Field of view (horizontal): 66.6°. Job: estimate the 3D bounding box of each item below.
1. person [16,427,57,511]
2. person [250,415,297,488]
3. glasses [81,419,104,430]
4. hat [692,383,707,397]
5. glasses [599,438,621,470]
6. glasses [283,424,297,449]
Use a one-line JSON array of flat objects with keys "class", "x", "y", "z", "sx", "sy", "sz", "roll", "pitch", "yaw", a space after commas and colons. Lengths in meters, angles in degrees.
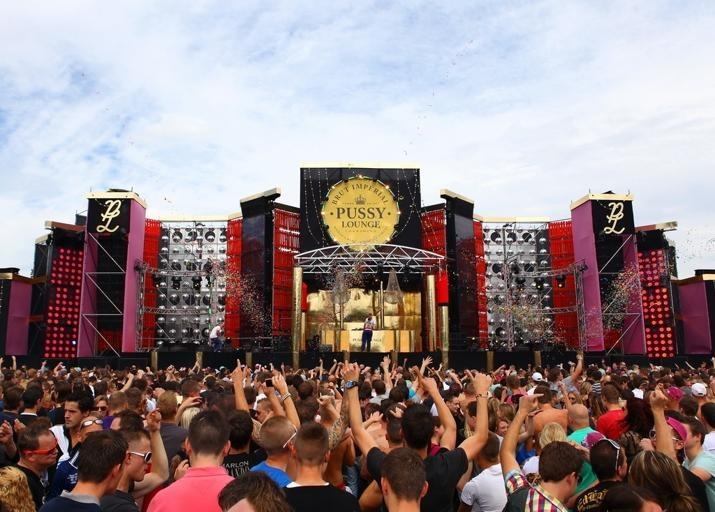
[{"class": "person", "x": -3.468, "y": 2.293, "z": 5.849, "sx": 0.434, "sy": 0.695, "sz": 0.830, "roll": -2, "pitch": 9, "yaw": -30}, {"class": "person", "x": -0.829, "y": 1.960, "z": 5.617, "sx": 0.513, "sy": 0.767, "sz": 0.578, "roll": 3, "pitch": 20, "yaw": 4}, {"class": "glasses", "x": -3.233, "y": 2.021, "z": 6.608, "sx": 0.226, "sy": 0.119, "sz": 0.275, "roll": 5, "pitch": -12, "yaw": -26}, {"class": "hat", "x": 5.830, "y": 2.310, "z": 9.257, "sx": 0.207, "sy": 0.182, "sz": 0.303, "roll": -1, "pitch": 6, "yaw": 24}, {"class": "glasses", "x": 2.590, "y": 1.969, "z": 5.541, "sx": 0.199, "sy": 0.167, "sz": 0.179, "roll": -4, "pitch": -6, "yaw": 14}, {"class": "glasses", "x": -0.677, "y": 1.868, "z": 5.615, "sx": 0.199, "sy": 0.060, "sz": 0.201, "roll": -40, "pitch": 5, "yaw": 46}]
